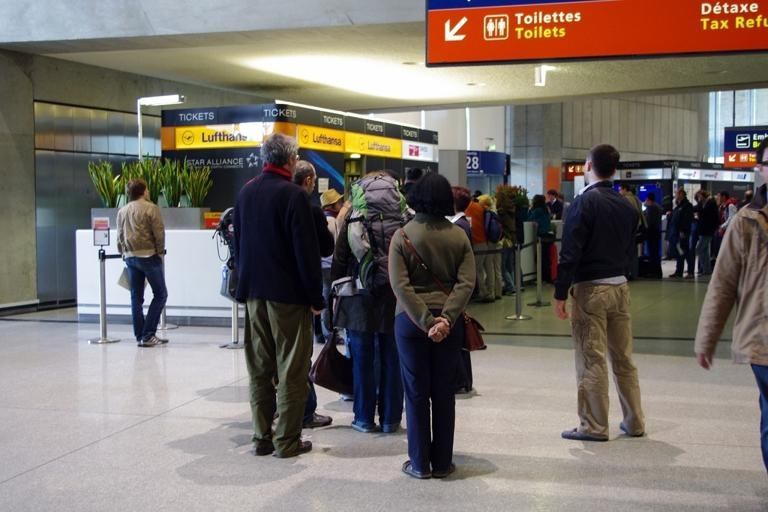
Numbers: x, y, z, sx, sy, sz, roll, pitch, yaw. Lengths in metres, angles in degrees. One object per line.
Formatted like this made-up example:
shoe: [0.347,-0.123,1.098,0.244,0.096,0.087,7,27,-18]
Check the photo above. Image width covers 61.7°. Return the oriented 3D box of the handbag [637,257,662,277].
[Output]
handbag: [6.619,0.284,16.061,0.482,0.677,0.683,-2,0,15]

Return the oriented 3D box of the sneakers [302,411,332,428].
sneakers: [-0.631,1.532,6.034,0.311,0.152,0.105,-3,-1,-8]

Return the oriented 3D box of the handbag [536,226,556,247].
handbag: [3.409,-0.426,13.598,0.395,0.558,0.304,3,4,14]

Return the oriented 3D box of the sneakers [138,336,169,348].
sneakers: [-3.210,1.185,8.917,0.378,0.160,0.141,-5,4,-17]

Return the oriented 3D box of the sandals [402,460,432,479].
sandals: [0.241,1.658,5.033,0.101,0.083,0.220,-1,4,-21]

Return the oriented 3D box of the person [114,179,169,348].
person: [-3.325,0.227,8.833,0.619,1.979,0.408,-1,6,-10]

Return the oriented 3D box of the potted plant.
potted plant: [-3.958,-0.990,11.371,2.013,1.133,1.567,0,10,-13]

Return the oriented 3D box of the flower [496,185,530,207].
flower: [2.538,-1.264,13.180,0.532,0.389,0.536,2,1,-7]

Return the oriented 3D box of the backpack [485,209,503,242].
backpack: [1.885,-0.440,11.294,0.324,0.685,0.469,-3,-34,10]

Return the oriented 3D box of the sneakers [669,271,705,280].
sneakers: [7.517,0.479,15.936,0.406,0.170,0.127,-6,-6,6]

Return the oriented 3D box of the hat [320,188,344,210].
hat: [-0.675,-0.684,7.810,0.322,0.126,0.293,-32,1,38]

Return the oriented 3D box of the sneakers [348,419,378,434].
sneakers: [-0.190,1.544,5.924,0.095,0.102,0.245,0,6,-42]

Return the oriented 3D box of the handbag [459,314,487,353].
handbag: [0.687,0.631,5.105,0.170,0.287,0.294,-22,-9,11]

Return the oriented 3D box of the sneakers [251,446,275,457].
sneakers: [-1.024,1.632,5.389,0.137,0.054,0.079,11,-10,-37]
